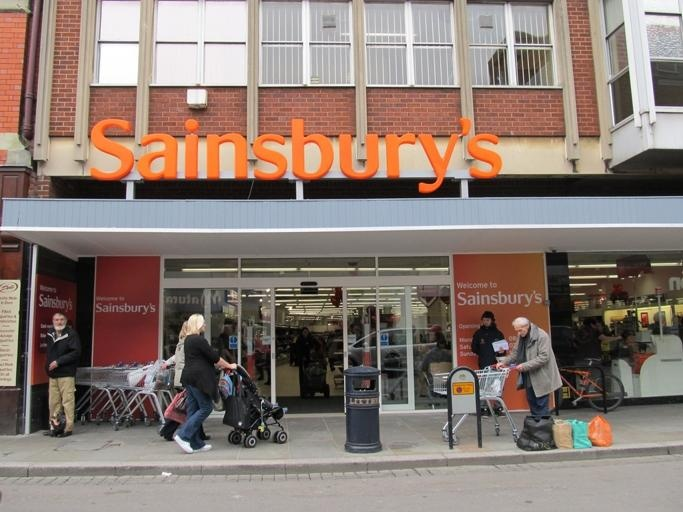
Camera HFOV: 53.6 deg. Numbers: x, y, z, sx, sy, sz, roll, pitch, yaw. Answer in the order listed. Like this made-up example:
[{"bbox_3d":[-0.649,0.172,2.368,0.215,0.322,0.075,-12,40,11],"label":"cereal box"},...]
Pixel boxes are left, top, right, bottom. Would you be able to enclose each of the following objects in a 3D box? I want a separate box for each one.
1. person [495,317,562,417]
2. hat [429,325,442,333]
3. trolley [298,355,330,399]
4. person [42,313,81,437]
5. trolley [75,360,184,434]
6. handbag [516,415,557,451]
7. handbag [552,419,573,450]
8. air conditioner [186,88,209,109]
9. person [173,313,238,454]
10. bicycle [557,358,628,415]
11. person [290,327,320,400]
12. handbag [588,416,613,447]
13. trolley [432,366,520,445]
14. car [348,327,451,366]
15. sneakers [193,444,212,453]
[{"bbox_3d":[3.486,2.035,12.393,0.989,1.776,0.545,-3,-6,14],"label":"person"},{"bbox_3d":[2.208,1.713,15.896,0.188,0.144,0.194,2,0,20],"label":"hat"},{"bbox_3d":[-0.697,3.202,17.767,0.675,0.944,0.627,1,7,-4],"label":"trolley"},{"bbox_3d":[-5.614,2.378,13.552,0.641,2.430,0.426,0,-6,-16],"label":"person"},{"bbox_3d":[-4.648,3.052,14.556,2.161,1.438,1.348,3,-14,-2],"label":"trolley"},{"bbox_3d":[3.445,3.176,11.950,0.574,0.583,0.560,1,-2,19],"label":"handbag"},{"bbox_3d":[3.989,3.133,12.261,0.345,0.655,0.651,1,-10,5],"label":"handbag"},{"bbox_3d":[-3.250,-3.519,15.087,0.405,0.416,0.222,-1,-11,-2],"label":"air conditioner"},{"bbox_3d":[-2.546,2.279,11.987,0.792,2.449,0.500,-5,-7,33],"label":"person"},{"bbox_3d":[5.702,2.961,15.377,1.690,1.119,0.870,-2,-4,5],"label":"bicycle"},{"bbox_3d":[-0.928,2.789,17.752,0.650,2.010,0.553,1,15,10],"label":"person"},{"bbox_3d":[4.691,3.175,12.209,0.376,0.563,0.537,4,-5,-32],"label":"handbag"},{"bbox_3d":[2.746,2.920,13.428,1.914,1.896,1.200,4,-12,-5],"label":"trolley"},{"bbox_3d":[1.336,2.179,16.236,2.159,0.966,0.995,4,-10,-3],"label":"car"},{"bbox_3d":[-2.526,3.476,12.162,0.266,0.120,0.106,-2,-1,-13],"label":"sneakers"}]
